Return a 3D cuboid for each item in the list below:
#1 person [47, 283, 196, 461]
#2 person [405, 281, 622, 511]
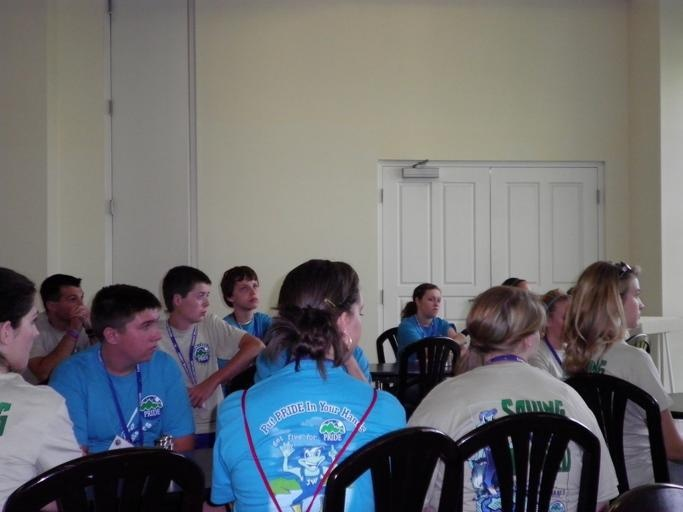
[{"bbox_3d":[-0.955,0.535,2.492,0.413,0.791,0.657,0,-5,42],"label":"person"},{"bbox_3d":[0.581,0.507,1.977,0.577,0.781,0.525,-2,2,-39],"label":"person"}]
